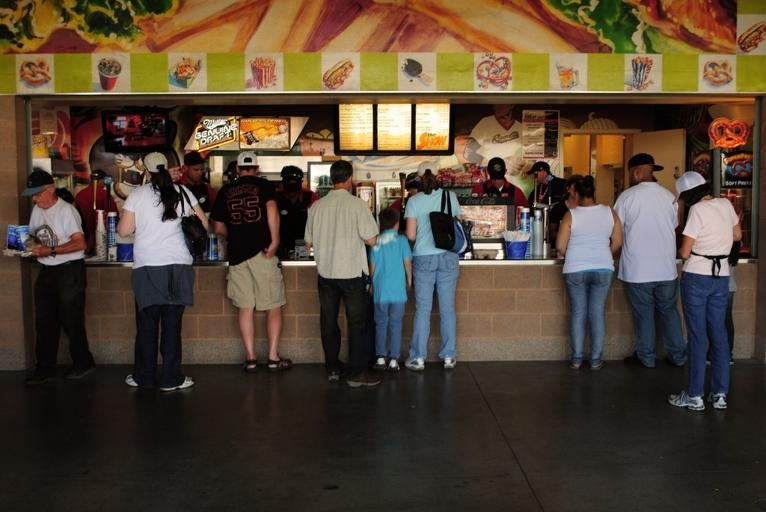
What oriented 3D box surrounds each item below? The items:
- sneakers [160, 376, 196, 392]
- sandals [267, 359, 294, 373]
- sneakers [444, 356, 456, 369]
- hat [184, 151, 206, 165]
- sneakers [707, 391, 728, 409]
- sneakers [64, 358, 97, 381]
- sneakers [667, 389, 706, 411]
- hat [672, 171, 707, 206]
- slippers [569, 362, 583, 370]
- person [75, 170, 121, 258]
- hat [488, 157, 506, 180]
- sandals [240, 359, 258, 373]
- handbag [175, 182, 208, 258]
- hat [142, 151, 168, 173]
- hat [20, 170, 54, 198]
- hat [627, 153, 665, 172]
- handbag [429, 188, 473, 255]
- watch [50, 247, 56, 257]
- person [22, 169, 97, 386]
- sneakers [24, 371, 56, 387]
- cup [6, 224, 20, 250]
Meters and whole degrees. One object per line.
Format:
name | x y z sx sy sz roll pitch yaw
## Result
sneakers | -2.042 1.280 7.198 0.289 0.113 0.118 -7 15 -34
sandals | -1.095 1.159 7.765 0.299 0.110 0.107 -8 10 -42
sneakers | 0.709 1.130 7.705 0.103 0.126 0.308 -1 -7 9
hat | -2.302 -1.182 8.734 0.221 0.244 0.259 1 9 7
sneakers | 3.094 1.333 6.666 0.088 0.101 0.234 -1 -2 8
sneakers | -3.167 1.179 7.541 0.129 0.137 0.337 2 2 9
sneakers | 2.794 1.333 6.705 0.343 0.150 0.137 10 13 41
hat | 2.854 -0.643 6.682 0.257 0.174 0.327 -23 13 13
slippers | 2.059 1.167 7.709 0.083 0.077 0.114 -6 5 -42
person | -3.497 -0.506 8.823 0.392 1.229 0.261 2 -22 -9
hat | 1.433 -1.108 9.086 0.207 0.281 0.113 1 6 9
sandals | -1.423 1.169 7.680 0.135 0.110 0.292 -1 5 -9
handbag | -1.973 -0.324 7.553 0.273 0.938 0.931 -4 15 -14
hat | -2.257 -0.923 7.151 0.189 0.192 0.289 -6 16 -20
hat | -3.443 -0.746 7.303 0.252 0.194 0.353 4 22 12
hat | 2.763 -0.938 7.640 0.431 0.197 0.300 -3 7 12
handbag | 0.710 -0.360 7.584 0.496 0.635 0.168 5 -28 -20
watch | -3.311 -0.041 7.248 0.064 0.083 0.025 2 17 -3
person | -3.360 0.193 7.387 0.638 2.116 0.483 -5 15 -17
sneakers | -3.542 1.258 7.383 0.315 0.144 0.121 8 -5 -40
cup | -3.687 -0.187 7.198 0.143 0.225 0.092 -6 16 -19
